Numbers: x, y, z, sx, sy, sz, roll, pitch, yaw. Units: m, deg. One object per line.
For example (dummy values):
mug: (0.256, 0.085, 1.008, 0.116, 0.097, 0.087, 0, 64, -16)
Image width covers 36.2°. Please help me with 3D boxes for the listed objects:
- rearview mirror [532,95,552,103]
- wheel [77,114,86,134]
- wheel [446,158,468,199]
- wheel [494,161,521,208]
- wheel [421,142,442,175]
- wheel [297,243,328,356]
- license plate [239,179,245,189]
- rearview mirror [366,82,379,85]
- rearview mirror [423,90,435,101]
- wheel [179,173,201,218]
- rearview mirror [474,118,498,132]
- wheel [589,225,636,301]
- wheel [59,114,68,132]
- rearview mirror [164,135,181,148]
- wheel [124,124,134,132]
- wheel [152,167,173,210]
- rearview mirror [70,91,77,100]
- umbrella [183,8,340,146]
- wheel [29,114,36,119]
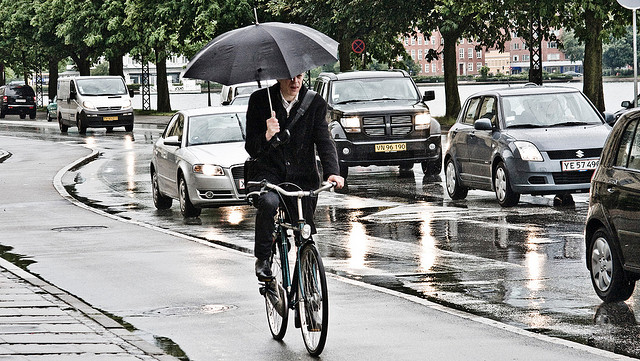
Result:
rearview mirror: (4.845, -1.777, 21.223, 0.423, 0.151, 0.156, 0, 10, 6)
wheel: (-11.305, -2.713, 46.150, 0.300, 0.845, 0.884, -2, 5, -22)
wheel: (3.137, -0.049, 22.201, 0.322, 0.921, 0.962, -1, 2, -20)
wheel: (3.954, 0.054, 20.477, 0.316, 0.906, 0.945, 0, 5, -13)
wheel: (3.037, -0.549, 26.515, 0.545, 0.818, 0.745, 0, 10, 5)
wheel: (-0.096, 1.508, 12.313, 0.142, 1.423, 0.573, -6, 11, -25)
license plate: (-1.638, 0.083, 20.270, 0.060, 0.194, 0.235, -5, 11, -21)
rearview mirror: (1.458, -2.656, 26.705, 0.306, 0.052, 0.064, -3, 10, -11)
rearview mirror: (2.997, -2.333, 26.801, 0.274, 0.245, 0.360, 4, 3, 7)
wheel: (-2.746, 0.300, 20.651, 0.328, 0.931, 0.971, 0, 3, -14)
rearview mirror: (3.541, -1.178, 20.879, 0.590, 0.298, 0.379, -10, 14, -42)
wheel: (4.195, 1.182, 13.891, 0.381, 1.059, 1.109, 2, 2, -23)
wheel: (-12.724, -2.874, 48.279, 0.338, 0.947, 0.989, -1, 3, -17)
rearview mirror: (-3.234, -0.838, 21.331, 0.353, 0.235, 0.392, -2, 10, -7)
wheel: (-9.420, -2.541, 47.475, 0.376, 0.305, 0.600, 5, -6, -9)
wheel: (-3.549, 0.185, 22.006, 0.274, 0.783, 0.810, -4, -14, 1)
rearview mirror: (-11.873, -4.062, 46.714, 0.351, 0.324, 0.120, 0, 1, 15)
umbrella: (-0.726, -1.557, 13.492, 2.054, 1.638, 1.851, -10, 18, 2)
wheel: (-19.643, -4.366, 66.437, 0.388, 0.345, 0.372, 1, -3, 0)
